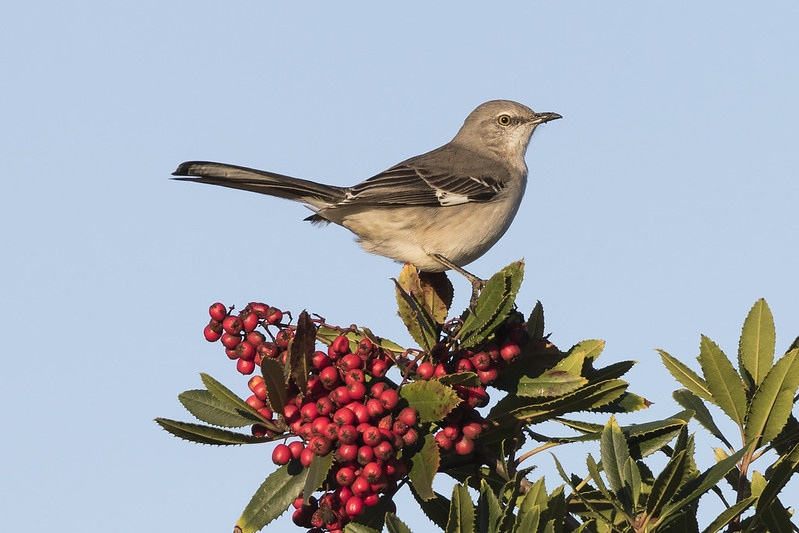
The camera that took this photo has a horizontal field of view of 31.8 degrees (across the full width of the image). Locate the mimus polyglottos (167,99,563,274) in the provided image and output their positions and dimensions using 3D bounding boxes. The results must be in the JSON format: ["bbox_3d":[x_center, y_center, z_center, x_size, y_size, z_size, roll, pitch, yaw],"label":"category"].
[{"bbox_3d":[-0.257,-1.029,10.630,2.332,1.701,2.420,14,-6,17],"label":"mimus polyglottos"}]
